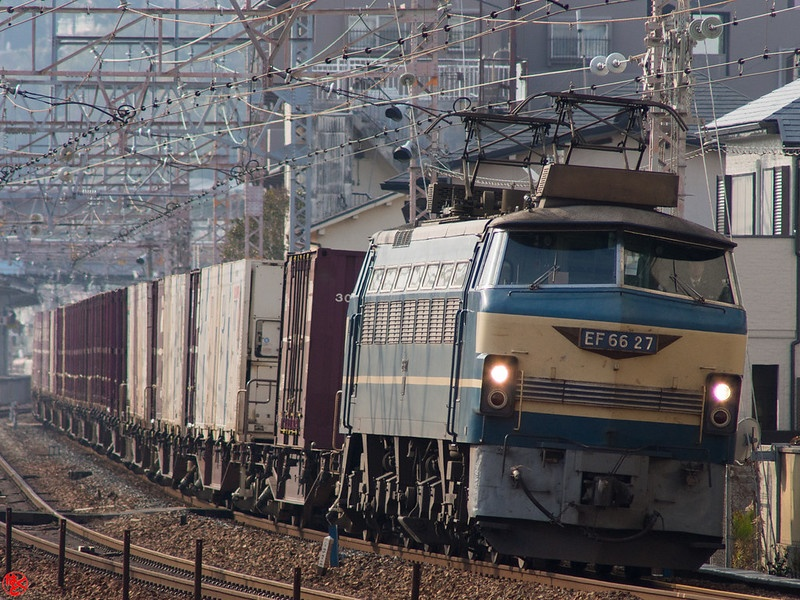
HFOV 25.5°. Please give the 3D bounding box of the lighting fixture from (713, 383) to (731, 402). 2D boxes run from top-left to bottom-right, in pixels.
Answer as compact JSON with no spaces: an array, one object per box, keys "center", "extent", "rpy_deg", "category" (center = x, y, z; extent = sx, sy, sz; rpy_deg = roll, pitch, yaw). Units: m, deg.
[{"center":[6.514,1.899,35.959],"extent":[0.362,0.354,0.084],"rpy_deg":[7,-1,-13],"category":"lighting fixture"}]
